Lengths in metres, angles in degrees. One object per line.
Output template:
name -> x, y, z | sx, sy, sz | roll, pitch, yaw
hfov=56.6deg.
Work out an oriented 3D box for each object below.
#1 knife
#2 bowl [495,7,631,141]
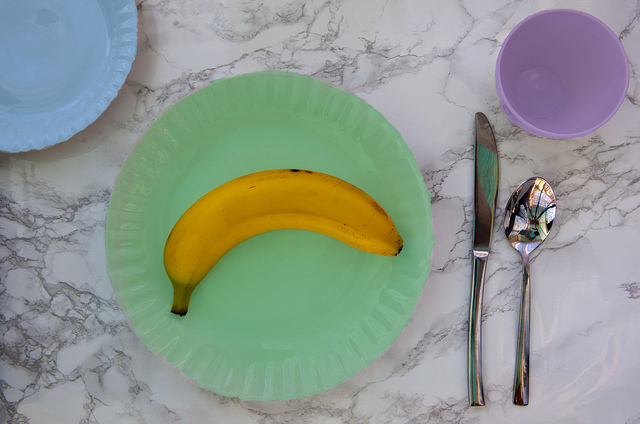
knife -> 0.400, 0.093, 1.440 | 0.067, 0.726, 0.055 | 0, 0, 0
bowl -> 0.583, -0.324, 1.498 | 0.261, 0.326, 0.206 | 1, 8, 10
